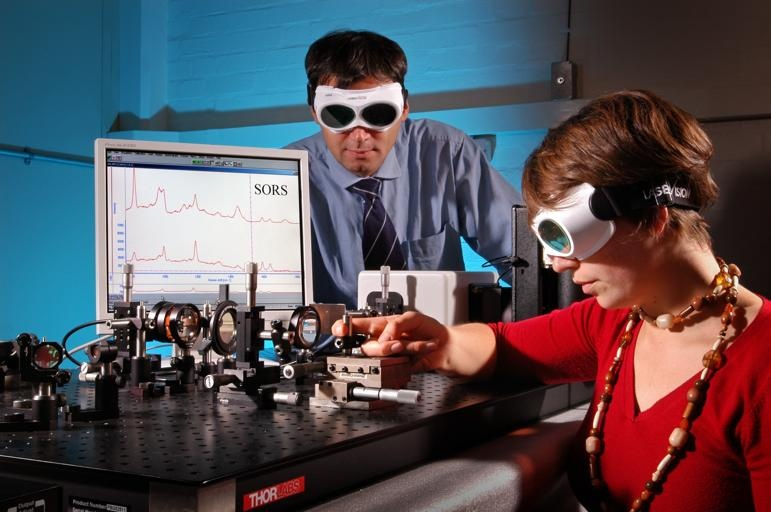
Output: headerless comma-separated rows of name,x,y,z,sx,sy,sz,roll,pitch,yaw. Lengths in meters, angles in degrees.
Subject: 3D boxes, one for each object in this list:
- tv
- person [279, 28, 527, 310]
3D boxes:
tv,-0.521,-0.009,1.896,0.715,0.581,0.071,-1,-4,-17
person,0.120,-0.365,2.940,1.350,0.896,0.690,-2,4,-1
